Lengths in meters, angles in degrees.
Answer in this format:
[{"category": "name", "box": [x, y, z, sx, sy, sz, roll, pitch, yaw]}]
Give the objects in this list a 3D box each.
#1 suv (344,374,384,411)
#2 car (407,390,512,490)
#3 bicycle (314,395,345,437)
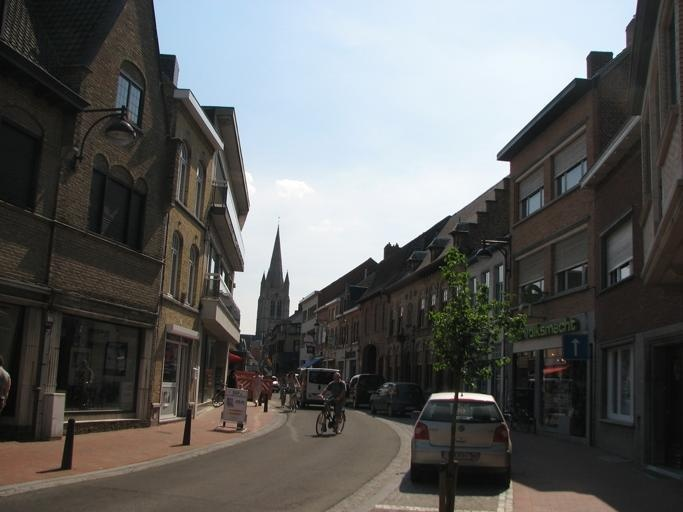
[{"category": "suv", "box": [1.417, 8.821, 38.376, 1.494, 1.669, 2.997, 1, -9, -7]}, {"category": "car", "box": [2.312, 3.480, 11.380, 1.148, 1.083, 2.290, 1, -9, 7]}, {"category": "bicycle", "box": [-0.420, 5.796, 20.462, 0.769, 1.050, 1.624, -10, -28, 25]}]
